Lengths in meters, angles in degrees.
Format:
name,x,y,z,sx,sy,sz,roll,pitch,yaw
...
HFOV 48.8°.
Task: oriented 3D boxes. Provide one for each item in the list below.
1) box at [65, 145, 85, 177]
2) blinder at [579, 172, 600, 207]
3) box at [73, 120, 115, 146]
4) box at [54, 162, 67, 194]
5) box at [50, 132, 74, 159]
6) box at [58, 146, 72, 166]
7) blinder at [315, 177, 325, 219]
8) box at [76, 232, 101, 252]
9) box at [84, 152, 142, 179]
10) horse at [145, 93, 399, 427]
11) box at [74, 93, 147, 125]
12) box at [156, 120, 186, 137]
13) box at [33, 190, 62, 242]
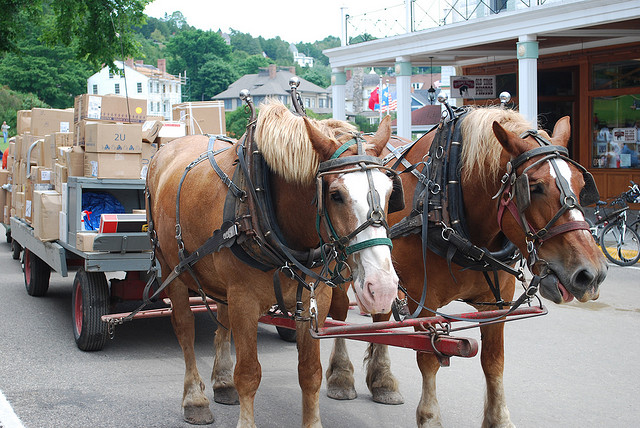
name,x,y,z,sx,sy,sz,roll,pitch,yaw
box,-3.530,-0.761,10.106,0.258,0.437,0.354,-2,4,-22
blinder,2.726,-0.243,7.141,0.175,0.358,0.555,1,4,21
box,-3.259,-1.220,10.387,0.594,0.366,0.624,15,16,28
box,-3.781,-0.510,10.242,0.153,0.399,0.467,-1,-3,-27
box,-3.991,-1.068,11.011,0.346,0.243,0.349,12,-31,-42
box,-3.740,-0.827,10.284,0.343,0.242,0.191,2,2,35
blinder,-0.009,-0.155,6.685,0.106,0.384,0.056,3,5,42
box,-3.145,0.364,9.462,0.268,0.189,0.257,0,3,-27
box,-2.850,-0.656,9.685,0.647,0.363,0.300,-1,4,-1
horse,-0.608,0.563,7.581,1.195,3.621,3.442,-4,5,-38
box,-3.165,-1.601,10.755,1.035,0.357,0.301,-1,13,-39
box,-2.306,-1.316,10.953,0.376,0.248,0.358,0,2,-11
box,-3.957,0.030,10.244,0.400,0.708,0.337,-1,4,-11
